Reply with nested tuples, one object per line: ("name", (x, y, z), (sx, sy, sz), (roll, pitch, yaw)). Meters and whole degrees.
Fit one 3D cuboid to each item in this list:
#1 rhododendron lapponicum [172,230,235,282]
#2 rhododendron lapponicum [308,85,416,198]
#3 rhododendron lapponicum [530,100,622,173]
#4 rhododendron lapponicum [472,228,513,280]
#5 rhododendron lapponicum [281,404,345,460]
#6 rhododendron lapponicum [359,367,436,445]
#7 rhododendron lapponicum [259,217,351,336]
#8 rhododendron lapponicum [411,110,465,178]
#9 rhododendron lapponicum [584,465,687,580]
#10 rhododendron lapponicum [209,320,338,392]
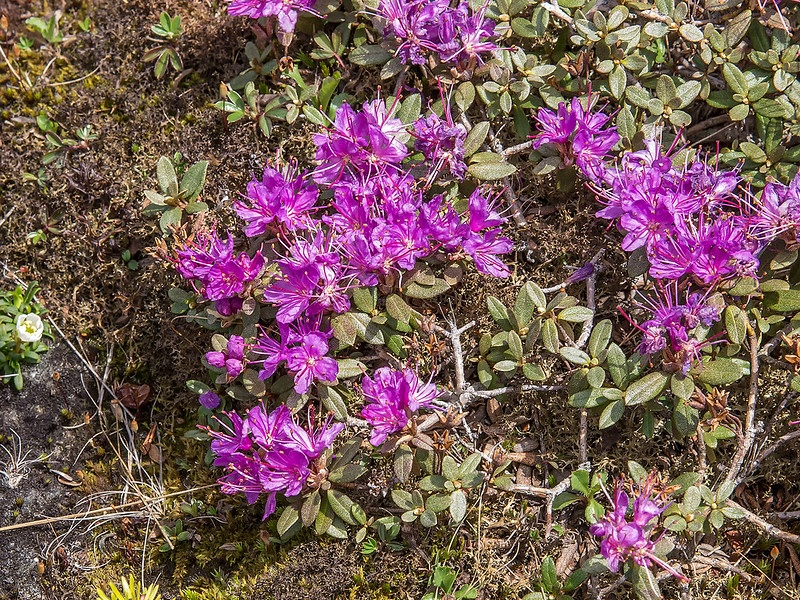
("rhododendron lapponicum", (-0.951, -0.207, 3.626), (0.270, 0.161, 0.237), (-43, 55, -15))
("rhododendron lapponicum", (-0.191, -0.744, 3.621), (0.477, 0.398, 0.274), (-6, 51, 1))
("rhododendron lapponicum", (0.839, -0.790, 3.671), (0.353, 0.246, 0.347), (27, 97, -4))
("rhododendron lapponicum", (0.427, -0.224, 3.528), (0.092, 0.218, 0.196), (15, 56, 45))
("rhododendron lapponicum", (-0.405, 0.637, 3.456), (0.283, 0.191, 0.301), (-4, 8, 30))
("rhododendron lapponicum", (-0.004, 0.467, 3.441), (0.350, 0.312, 0.182), (19, 11, -7))
("rhododendron lapponicum", (-0.430, -0.091, 3.364), (0.359, 0.247, 0.459), (-4, 91, 0))
("rhododendron lapponicum", (0.217, -0.754, 3.613), (0.209, 0.328, 0.152), (-29, 23, 27))
("rhododendron lapponicum", (1.037, 1.048, 3.382), (0.377, 0.642, 0.474), (7, 52, 11))
("rhododendron lapponicum", (-0.602, 0.256, 3.514), (0.499, 0.213, 0.384), (0, 84, -4))
